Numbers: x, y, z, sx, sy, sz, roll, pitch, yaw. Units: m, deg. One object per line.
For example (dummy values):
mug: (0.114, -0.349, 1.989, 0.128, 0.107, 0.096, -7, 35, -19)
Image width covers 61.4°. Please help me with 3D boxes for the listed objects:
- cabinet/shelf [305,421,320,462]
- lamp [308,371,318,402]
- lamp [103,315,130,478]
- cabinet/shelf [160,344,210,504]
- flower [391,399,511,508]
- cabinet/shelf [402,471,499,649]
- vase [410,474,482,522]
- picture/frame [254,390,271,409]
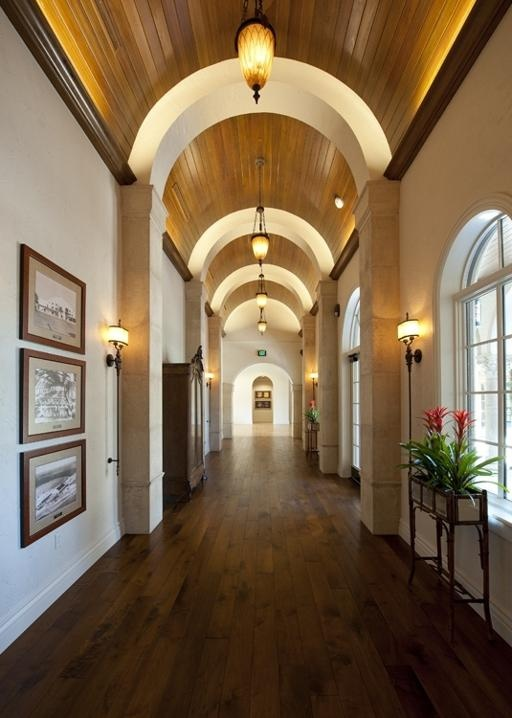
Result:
cabinet/shelf: (1.354, 1.939, 10.184, 0.274, 1.443, 0.780, 1, -6, -1)
lamp: (1.631, 0.738, 12.071, 0.187, 0.774, 0.647, -1, -4, 13)
lamp: (-1.302, 0.375, 4.076, 0.156, 1.467, 0.405, 0, -4, -4)
cabinet/shelf: (-1.040, 0.932, 6.195, 0.522, 2.819, 1.732, -1, -5, -1)
flower: (1.340, 0.579, 2.808, 0.502, 0.452, 0.438, 0, -3, -32)
cabinet/shelf: (1.229, 1.257, 2.667, 0.173, 0.923, 0.756, -1, -4, 2)
vase: (1.191, 0.890, 2.675, 0.158, 0.266, 0.593, -2, -10, 2)
picture/frame: (0.424, 2.148, 23.418, 0.625, 1.101, 0.072, 1, -8, -1)
